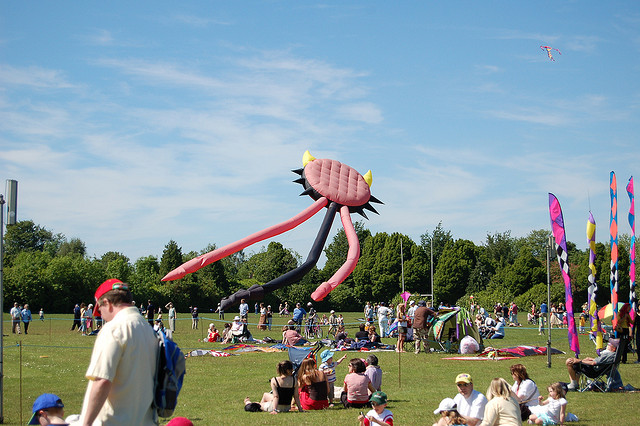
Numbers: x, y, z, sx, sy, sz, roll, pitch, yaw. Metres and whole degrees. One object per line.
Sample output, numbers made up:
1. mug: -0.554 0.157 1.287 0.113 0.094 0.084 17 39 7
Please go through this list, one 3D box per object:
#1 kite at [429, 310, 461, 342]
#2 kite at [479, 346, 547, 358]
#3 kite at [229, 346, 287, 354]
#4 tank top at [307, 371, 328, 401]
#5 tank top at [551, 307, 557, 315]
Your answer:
1. kite: 6.414 5.960 57.324 1.442 1.469 0.679 4 -23 23
2. kite: 10.241 7.200 55.817 4.153 0.737 1.571 5 -13 -25
3. kite: -3.488 7.400 58.103 2.599 0.451 1.390 3 -12 -18
4. tank top: -0.063 7.527 46.708 0.948 1.302 0.712 -5 4 3
5. tank top: 16.068 6.745 74.077 0.423 0.445 0.410 3 7 9
